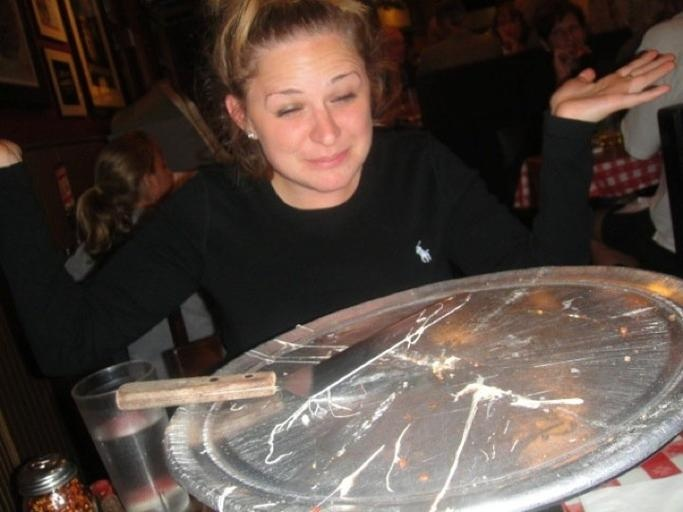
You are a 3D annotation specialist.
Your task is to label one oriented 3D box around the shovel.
[{"bbox_3d":[0.014,0.206,1.135,0.817,0.042,0.219,-6,23,-24],"label":"shovel"}]
